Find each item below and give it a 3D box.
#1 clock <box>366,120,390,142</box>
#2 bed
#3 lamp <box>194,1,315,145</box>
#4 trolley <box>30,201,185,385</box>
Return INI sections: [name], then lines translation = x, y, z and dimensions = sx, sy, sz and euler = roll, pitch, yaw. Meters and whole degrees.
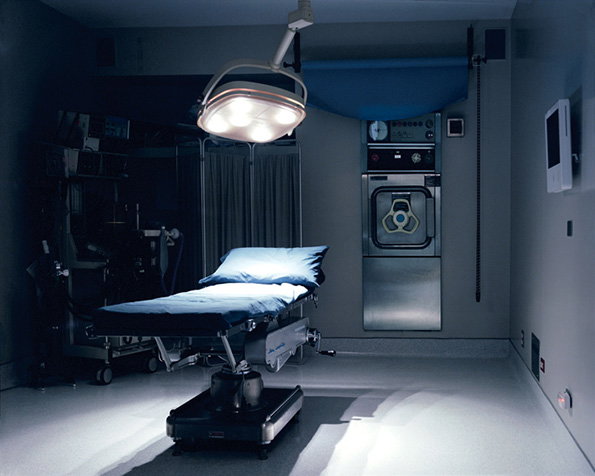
[clock]
translation = 0.812, -1.086, 5.294
dimensions = 0.193, 0.209, 0.073
euler = -2, 0, -1
[bed]
translation = -0.466, 0.832, 3.457
dimensions = 0.842, 0.805, 1.365
euler = -1, -1, 12
[lamp]
translation = -0.171, -1.093, 3.660
dimensions = 1.070, 0.704, 0.914
euler = 2, 5, 32
[trolley]
translation = -1.868, 0.467, 5.577
dimensions = 1.406, 2.091, 1.368
euler = 1, 1, 12
